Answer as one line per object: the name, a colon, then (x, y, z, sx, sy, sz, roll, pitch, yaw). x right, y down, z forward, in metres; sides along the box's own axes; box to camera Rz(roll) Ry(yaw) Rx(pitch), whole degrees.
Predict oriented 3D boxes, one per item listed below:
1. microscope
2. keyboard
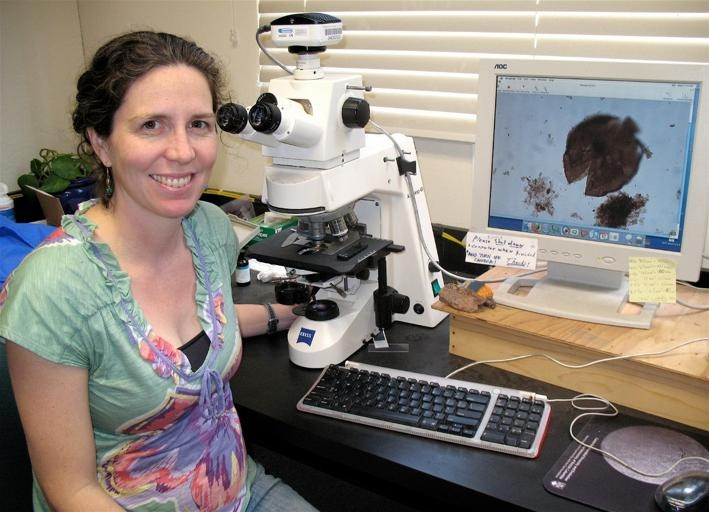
microscope: (-0.036, -0.168, 1.480, 0.342, 0.851, 0.622, 13, 24, 34)
keyboard: (0.163, 0.345, 1.256, 0.532, 0.077, 0.208, 5, 18, 23)
